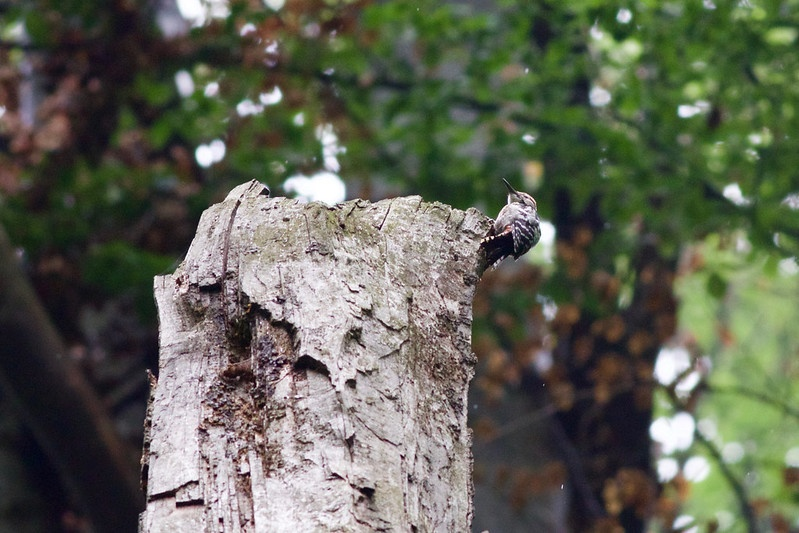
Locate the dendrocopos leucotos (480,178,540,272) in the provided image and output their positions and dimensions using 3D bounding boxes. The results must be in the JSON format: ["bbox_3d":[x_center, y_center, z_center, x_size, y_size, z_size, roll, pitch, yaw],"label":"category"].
[{"bbox_3d":[1.107,-0.411,18.507,0.535,0.311,0.768,37,42,9],"label":"dendrocopos leucotos"}]
